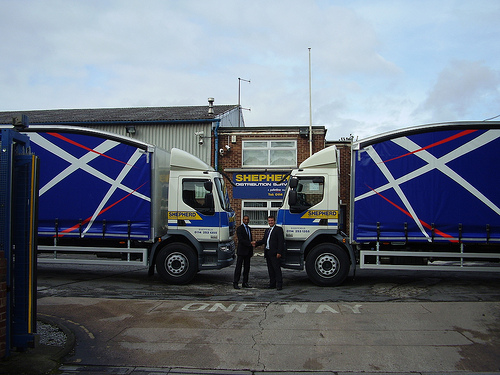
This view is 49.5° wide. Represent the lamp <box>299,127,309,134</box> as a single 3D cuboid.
[{"bbox_3d":[2.443,-2.576,24.850,0.492,0.497,0.302,0,-2,2],"label":"lamp"}]

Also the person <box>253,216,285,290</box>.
[{"bbox_3d":[0.564,1.748,14.608,0.771,1.933,0.609,2,4,24],"label":"person"}]

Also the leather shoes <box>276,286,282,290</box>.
[{"bbox_3d":[0.775,2.668,14.379,0.130,0.112,0.196,0,4,2],"label":"leather shoes"}]

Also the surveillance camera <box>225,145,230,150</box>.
[{"bbox_3d":[-1.025,-1.845,25.103,0.197,0.210,0.144,-5,8,-2],"label":"surveillance camera"}]

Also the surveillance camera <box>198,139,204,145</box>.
[{"bbox_3d":[-2.314,-2.146,25.688,0.210,0.255,0.129,-2,-5,4],"label":"surveillance camera"}]

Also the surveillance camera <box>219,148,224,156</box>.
[{"bbox_3d":[-1.305,-1.677,25.135,0.266,0.469,0.247,0,-1,2],"label":"surveillance camera"}]

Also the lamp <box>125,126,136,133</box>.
[{"bbox_3d":[-5.817,-2.809,26.435,0.363,0.384,0.369,1,-1,-15],"label":"lamp"}]

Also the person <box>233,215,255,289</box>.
[{"bbox_3d":[-0.198,1.771,14.973,0.551,2.010,1.082,0,4,-1],"label":"person"}]
